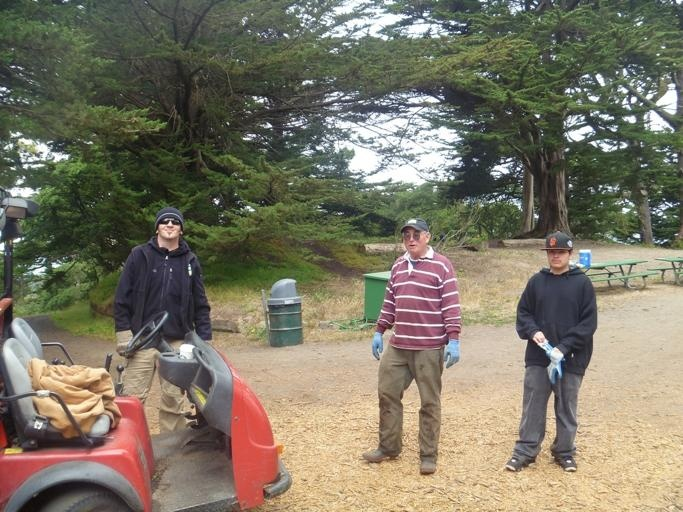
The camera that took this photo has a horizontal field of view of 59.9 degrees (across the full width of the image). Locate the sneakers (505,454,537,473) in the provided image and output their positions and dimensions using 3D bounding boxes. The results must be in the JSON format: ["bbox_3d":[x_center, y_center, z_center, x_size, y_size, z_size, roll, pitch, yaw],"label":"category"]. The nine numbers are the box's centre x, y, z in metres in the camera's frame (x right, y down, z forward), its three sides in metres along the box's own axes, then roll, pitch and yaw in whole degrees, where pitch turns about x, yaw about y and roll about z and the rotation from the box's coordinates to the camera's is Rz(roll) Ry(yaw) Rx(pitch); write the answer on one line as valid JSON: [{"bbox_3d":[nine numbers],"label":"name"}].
[{"bbox_3d":[1.778,2.083,5.953,0.328,0.133,0.128,-7,12,-23],"label":"sneakers"}]

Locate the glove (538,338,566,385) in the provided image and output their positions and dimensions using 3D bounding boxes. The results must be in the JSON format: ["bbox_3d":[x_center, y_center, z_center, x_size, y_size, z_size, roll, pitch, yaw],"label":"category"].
[{"bbox_3d":[2.090,1.065,5.903,0.234,0.288,0.266,-3,1,17],"label":"glove"}]

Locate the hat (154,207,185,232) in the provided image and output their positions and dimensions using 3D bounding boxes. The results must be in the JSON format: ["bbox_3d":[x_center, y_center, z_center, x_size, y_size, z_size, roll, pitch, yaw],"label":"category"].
[{"bbox_3d":[-1.828,-0.385,6.267,0.266,0.177,0.250,1,10,-15],"label":"hat"}]

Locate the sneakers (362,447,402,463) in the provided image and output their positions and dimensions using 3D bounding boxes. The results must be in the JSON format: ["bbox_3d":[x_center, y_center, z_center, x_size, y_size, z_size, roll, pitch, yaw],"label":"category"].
[{"bbox_3d":[0.418,2.058,6.177,0.341,0.138,0.150,5,1,-5],"label":"sneakers"}]

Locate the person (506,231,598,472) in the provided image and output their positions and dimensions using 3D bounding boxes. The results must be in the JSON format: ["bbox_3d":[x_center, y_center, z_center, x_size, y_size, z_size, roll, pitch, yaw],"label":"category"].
[{"bbox_3d":[2.127,0.953,6.023,0.880,1.589,0.559,-3,1,20],"label":"person"}]

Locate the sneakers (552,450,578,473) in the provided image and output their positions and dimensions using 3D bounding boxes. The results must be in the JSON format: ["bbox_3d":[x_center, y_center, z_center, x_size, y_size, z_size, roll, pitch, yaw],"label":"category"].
[{"bbox_3d":[2.248,2.069,5.948,0.115,0.121,0.306,-3,-12,4],"label":"sneakers"}]

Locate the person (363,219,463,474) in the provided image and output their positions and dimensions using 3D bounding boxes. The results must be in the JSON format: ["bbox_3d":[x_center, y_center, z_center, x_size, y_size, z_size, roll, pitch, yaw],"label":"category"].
[{"bbox_3d":[0.737,0.898,6.091,0.934,1.979,0.478,-3,1,1],"label":"person"}]

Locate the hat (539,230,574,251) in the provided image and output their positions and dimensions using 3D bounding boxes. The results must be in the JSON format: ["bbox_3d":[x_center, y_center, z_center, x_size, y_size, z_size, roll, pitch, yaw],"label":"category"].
[{"bbox_3d":[2.221,-0.138,6.093,0.434,0.165,0.277,1,2,10],"label":"hat"}]

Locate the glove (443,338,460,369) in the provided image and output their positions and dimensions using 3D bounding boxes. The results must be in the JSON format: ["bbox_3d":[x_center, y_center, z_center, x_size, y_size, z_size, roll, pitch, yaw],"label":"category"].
[{"bbox_3d":[1.123,0.996,6.052,0.146,0.229,0.368,-3,0,8],"label":"glove"}]

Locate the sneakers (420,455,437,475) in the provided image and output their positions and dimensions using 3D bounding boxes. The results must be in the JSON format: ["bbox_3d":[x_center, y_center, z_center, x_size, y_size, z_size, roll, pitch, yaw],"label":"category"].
[{"bbox_3d":[0.862,2.089,5.909,0.085,0.156,0.243,-2,-33,9],"label":"sneakers"}]

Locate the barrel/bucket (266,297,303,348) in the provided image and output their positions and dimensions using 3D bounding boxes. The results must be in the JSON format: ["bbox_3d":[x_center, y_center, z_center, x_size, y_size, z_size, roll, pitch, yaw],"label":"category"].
[{"bbox_3d":[-1.164,1.492,13.188,0.918,0.936,0.936,-4,-5,0],"label":"barrel/bucket"}]

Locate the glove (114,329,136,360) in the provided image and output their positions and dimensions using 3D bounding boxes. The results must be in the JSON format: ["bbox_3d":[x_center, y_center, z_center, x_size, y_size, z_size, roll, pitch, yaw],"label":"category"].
[{"bbox_3d":[-2.130,0.884,5.937,0.240,0.292,0.129,1,-5,40],"label":"glove"}]
